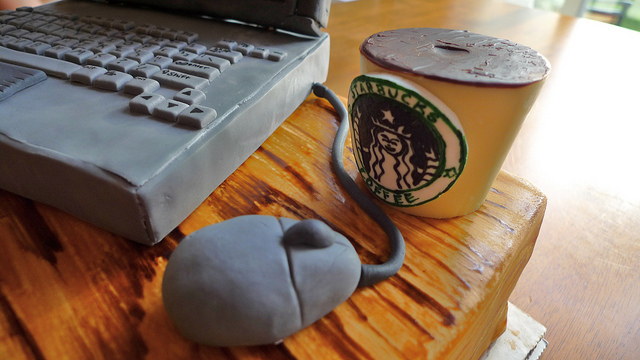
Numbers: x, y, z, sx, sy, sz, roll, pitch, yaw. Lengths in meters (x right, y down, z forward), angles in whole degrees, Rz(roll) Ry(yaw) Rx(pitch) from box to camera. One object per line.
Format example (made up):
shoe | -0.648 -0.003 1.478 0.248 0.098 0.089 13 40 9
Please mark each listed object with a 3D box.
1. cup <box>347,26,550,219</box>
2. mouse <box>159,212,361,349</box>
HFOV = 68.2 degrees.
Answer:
cup | 0.178 -0.097 0.688 0.265 0.211 0.240 -25 41 -36
mouse | -0.061 0.113 0.538 0.194 0.081 0.139 -7 64 -2
